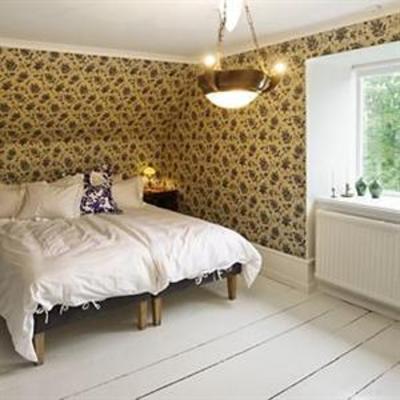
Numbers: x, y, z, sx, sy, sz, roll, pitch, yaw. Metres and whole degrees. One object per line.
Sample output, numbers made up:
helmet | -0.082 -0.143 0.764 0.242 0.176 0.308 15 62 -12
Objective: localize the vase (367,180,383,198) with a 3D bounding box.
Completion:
vase | 1.572 -0.099 2.911 0.136 0.223 0.145 4 5 20

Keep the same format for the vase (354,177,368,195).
vase | 1.522 -0.111 3.021 0.095 0.142 0.052 3 9 23

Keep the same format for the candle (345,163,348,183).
candle | 1.460 -0.269 3.174 0.029 0.191 0.127 3 9 24

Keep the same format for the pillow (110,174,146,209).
pillow | -0.840 -0.106 4.209 0.143 0.351 0.390 -12 12 18

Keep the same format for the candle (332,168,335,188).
candle | 1.288 -0.210 3.091 0.038 0.170 0.119 3 9 22

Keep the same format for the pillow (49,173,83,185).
pillow | -1.604 -0.245 3.856 0.314 0.086 0.192 -26 11 -25

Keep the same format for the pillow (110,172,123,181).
pillow | -1.143 -0.317 4.426 0.129 0.036 0.131 -7 33 -21

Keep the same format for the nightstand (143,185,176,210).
nightstand | -0.608 -0.039 4.890 0.339 0.420 0.429 7 9 42

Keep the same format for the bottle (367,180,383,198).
bottle | 1.582 -0.101 2.905 0.136 0.222 0.144 2 5 0
